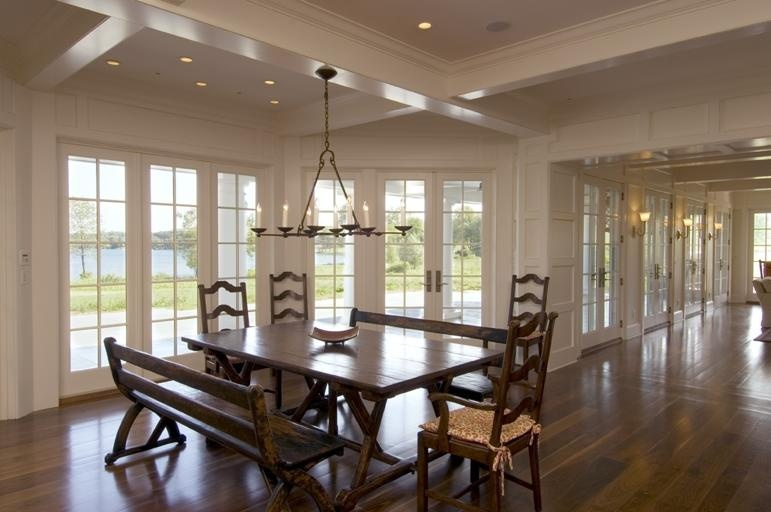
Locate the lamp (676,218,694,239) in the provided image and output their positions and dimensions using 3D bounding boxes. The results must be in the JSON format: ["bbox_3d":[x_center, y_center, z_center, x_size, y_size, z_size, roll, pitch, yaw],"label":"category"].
[{"bbox_3d":[6.566,-0.617,11.286,0.213,0.489,1.326,2,3,36],"label":"lamp"}]

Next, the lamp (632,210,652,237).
[{"bbox_3d":[4.713,-0.612,9.467,0.162,0.492,0.653,2,4,38],"label":"lamp"}]

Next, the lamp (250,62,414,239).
[{"bbox_3d":[-0.645,-1.159,5.913,2.168,1.861,2.025,-1,7,-5],"label":"lamp"}]
